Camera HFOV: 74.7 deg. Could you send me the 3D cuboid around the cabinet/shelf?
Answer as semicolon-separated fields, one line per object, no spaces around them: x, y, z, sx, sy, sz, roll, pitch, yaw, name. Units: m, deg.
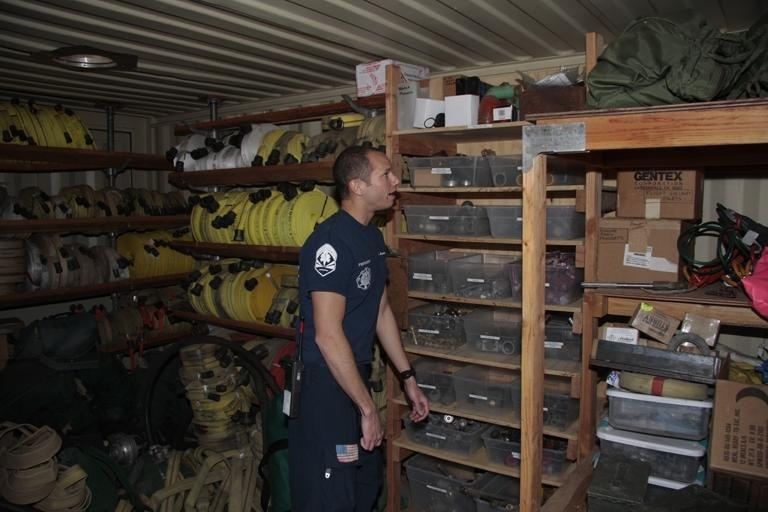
0.004;0.156;4.449;4.615;2.342;1.265;-1;-1;29;cabinet/shelf
